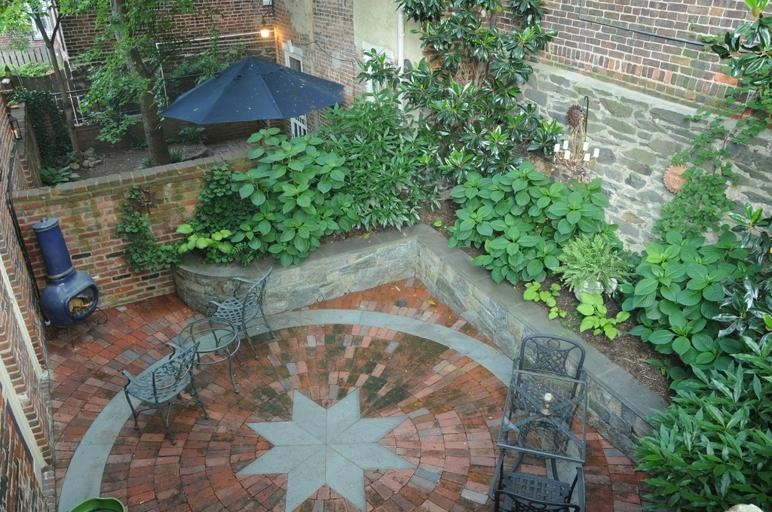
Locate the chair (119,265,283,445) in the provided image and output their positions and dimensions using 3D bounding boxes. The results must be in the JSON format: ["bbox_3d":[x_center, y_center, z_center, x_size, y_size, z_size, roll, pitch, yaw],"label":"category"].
[{"bbox_3d":[-2.617,1.500,8.697,0.802,1.140,2.061,30,46,10],"label":"chair"}]

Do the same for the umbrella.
[{"bbox_3d":[-2.153,-2.521,9.898,2.720,1.133,1.350,-7,40,-18],"label":"umbrella"}]

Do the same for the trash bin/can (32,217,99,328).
[{"bbox_3d":[-4.856,0.340,9.009,0.806,1.693,0.757,-5,40,-16],"label":"trash bin/can"}]
